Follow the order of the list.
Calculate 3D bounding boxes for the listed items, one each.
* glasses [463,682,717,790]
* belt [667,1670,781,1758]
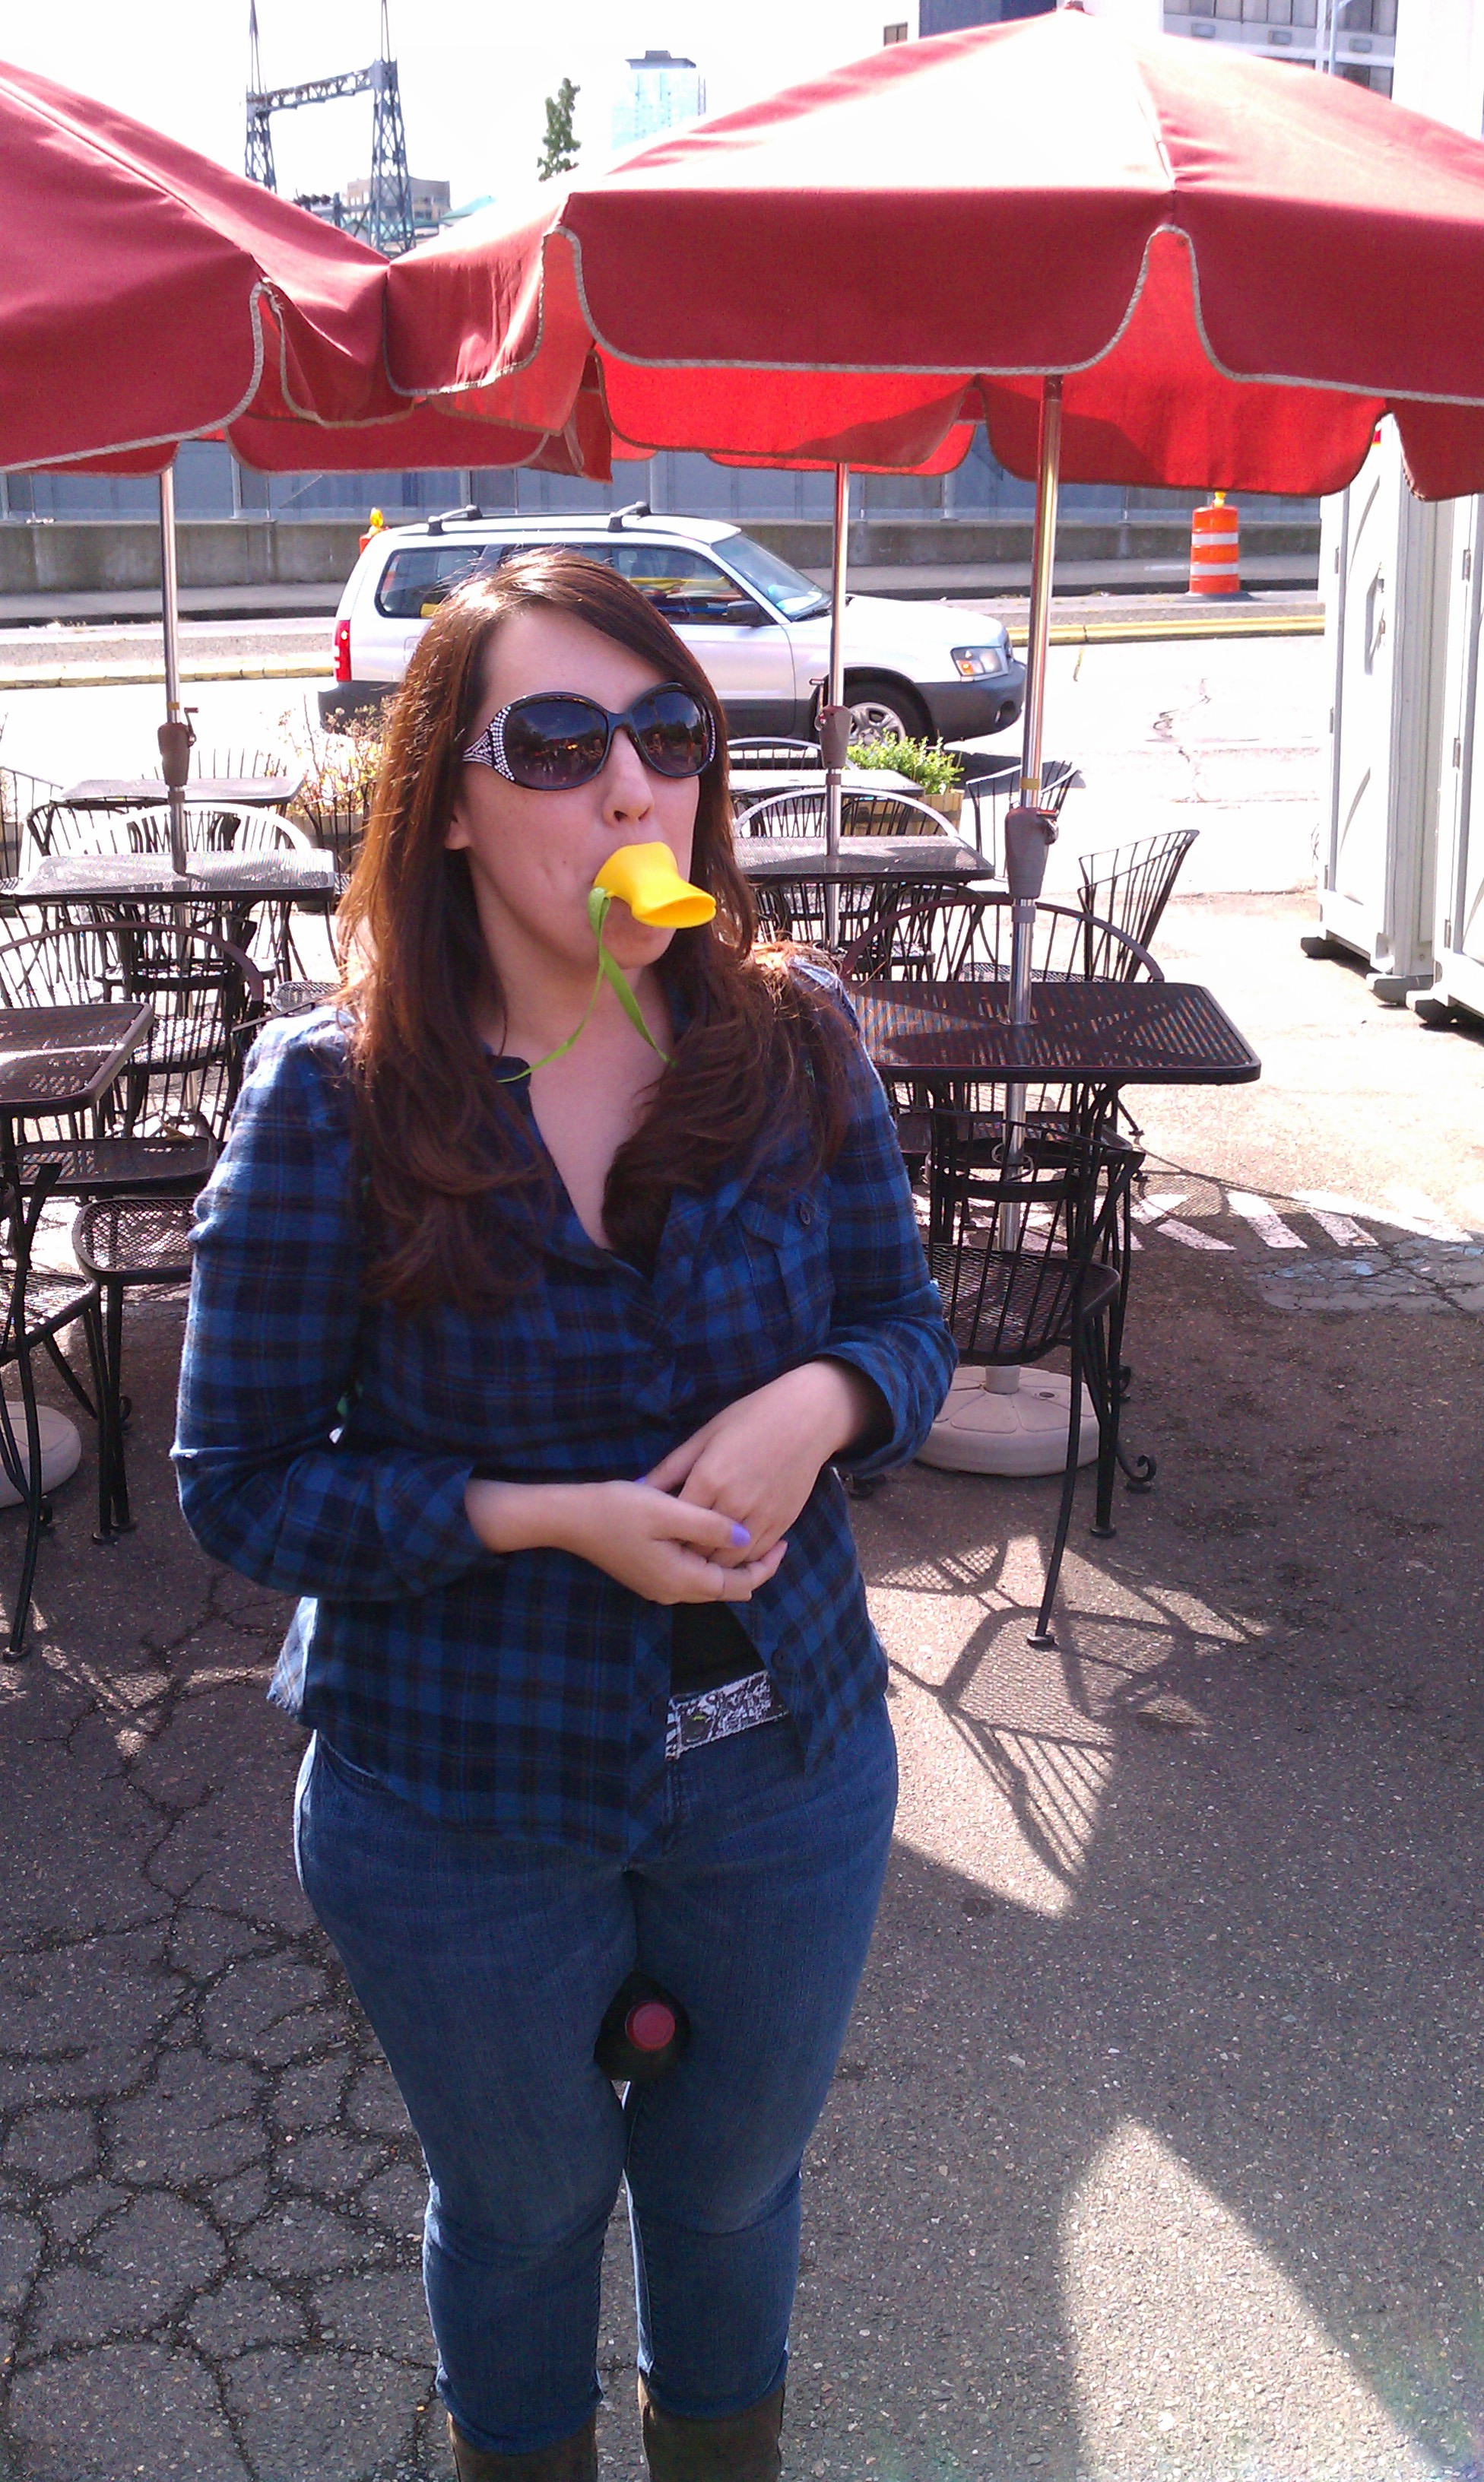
[{"bbox_3d":[-0.080,-0.304,1.124,0.167,0.062,0.070,-11,17,-34],"label":"glasses"},{"bbox_3d":[-0.015,0.290,1.141,0.034,0.031,0.056,-18,-10,30],"label":"belt"}]
